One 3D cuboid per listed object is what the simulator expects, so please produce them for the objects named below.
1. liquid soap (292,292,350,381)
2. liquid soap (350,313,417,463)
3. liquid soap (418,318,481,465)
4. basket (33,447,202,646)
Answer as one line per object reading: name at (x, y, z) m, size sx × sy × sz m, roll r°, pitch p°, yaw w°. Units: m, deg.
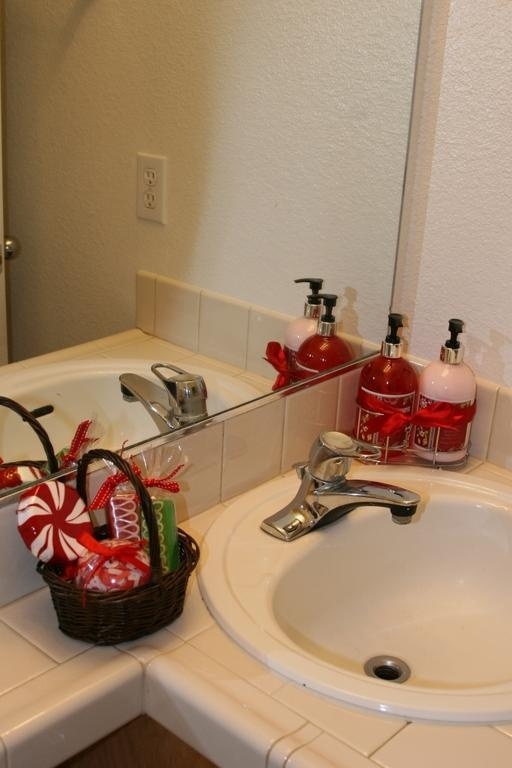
liquid soap at (0.121, -0.053, 1.078) m, size 0.088 × 0.206 × 0.086 m, roll 8°, pitch 16°, yaw 5°
liquid soap at (0.230, 0.010, 1.072) m, size 0.095 × 0.257 × 0.098 m, roll 18°, pitch 22°, yaw 40°
liquid soap at (0.320, 0.022, 1.059) m, size 0.099 × 0.240 × 0.093 m, roll 23°, pitch 36°, yaw 34°
basket at (-0.139, 0.160, 0.623) m, size 0.162 × 0.207 × 0.153 m, roll 1°, pitch 17°, yaw -6°
